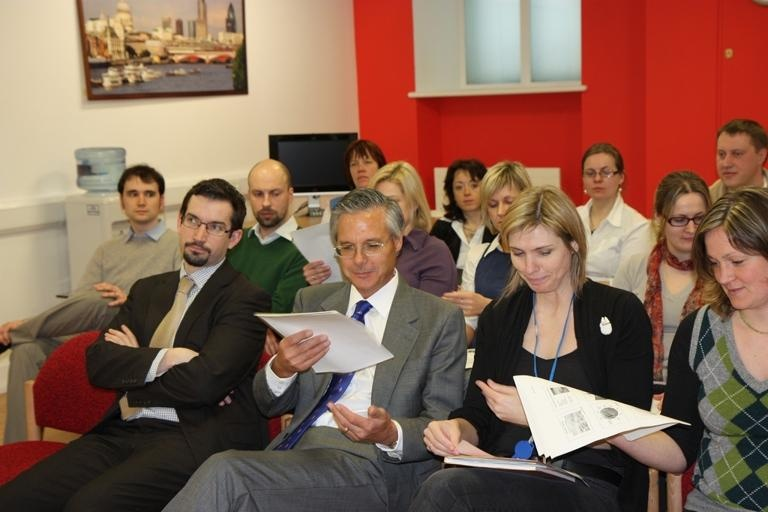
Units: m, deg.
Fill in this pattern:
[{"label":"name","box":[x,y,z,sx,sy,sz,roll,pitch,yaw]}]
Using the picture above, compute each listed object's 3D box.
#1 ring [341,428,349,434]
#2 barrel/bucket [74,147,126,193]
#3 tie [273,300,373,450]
[{"label":"ring","box":[-0.161,0.735,2.580,0.032,0.011,0.032,22,-30,14]},{"label":"barrel/bucket","box":[-2.525,-0.772,5.661,0.440,0.455,0.439,-1,5,0]},{"label":"tie","box":[-0.260,0.552,2.744,0.091,0.727,0.098,30,-9,31]}]
